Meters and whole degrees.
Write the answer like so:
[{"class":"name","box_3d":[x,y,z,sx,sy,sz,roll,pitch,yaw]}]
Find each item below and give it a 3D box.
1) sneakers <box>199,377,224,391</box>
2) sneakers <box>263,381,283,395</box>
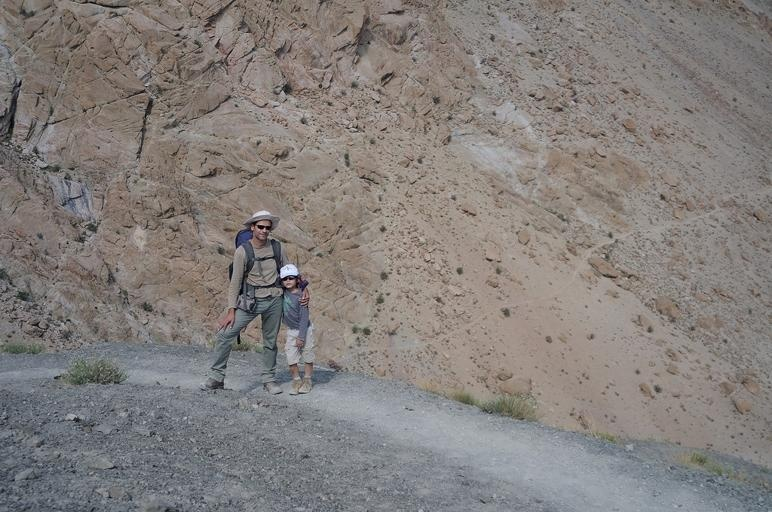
[{"class":"sneakers","box_3d":[-4.767,3.469,18.807,0.614,0.262,0.259,6,-4,-20]},{"class":"sneakers","box_3d":[-3.184,3.692,19.415,0.491,0.241,0.285,7,13,40]}]
